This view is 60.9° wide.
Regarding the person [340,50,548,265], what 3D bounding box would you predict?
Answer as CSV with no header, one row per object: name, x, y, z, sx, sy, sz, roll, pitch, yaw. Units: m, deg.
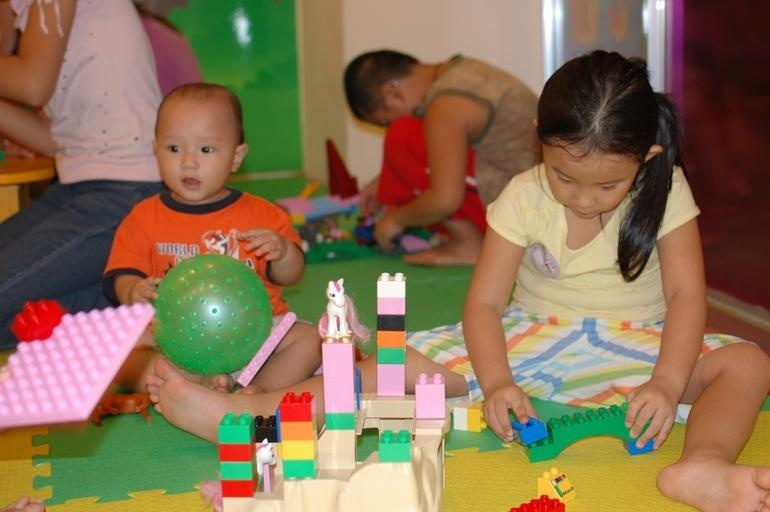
person,0.334,-0.520,3.446,0.981,1.176,0.886,-2,19,12

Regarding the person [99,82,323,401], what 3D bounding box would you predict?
person,-0.569,-0.046,2.121,0.670,1.004,0.573,-1,18,-11
